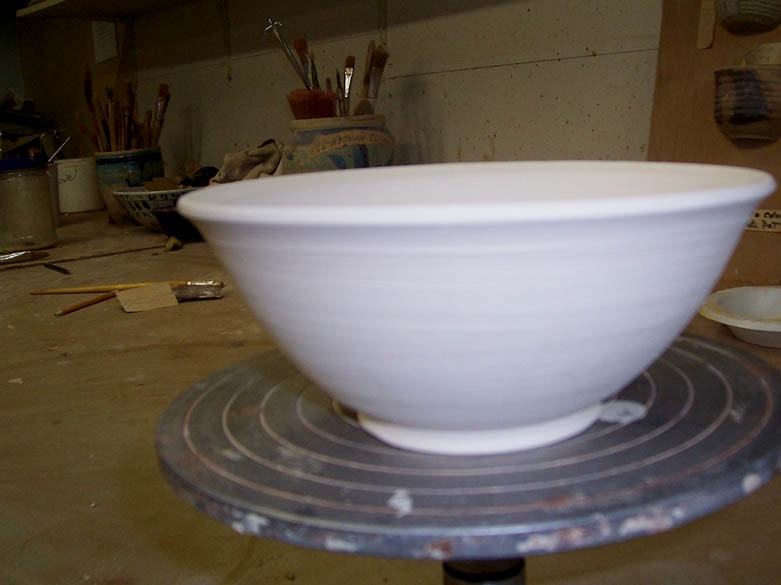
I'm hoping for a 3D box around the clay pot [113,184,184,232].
[{"bbox_3d":[-0.973,-0.344,2.578,0.354,0.130,0.250,4,10,36],"label":"clay pot"}]

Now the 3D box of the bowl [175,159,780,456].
[{"bbox_3d":[0.056,-0.003,0.554,0.446,0.208,0.334,-6,19,-16],"label":"bowl"}]

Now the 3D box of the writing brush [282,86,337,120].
[{"bbox_3d":[-0.268,-0.607,2.073,0.133,0.090,0.135,-1,15,15],"label":"writing brush"}]
